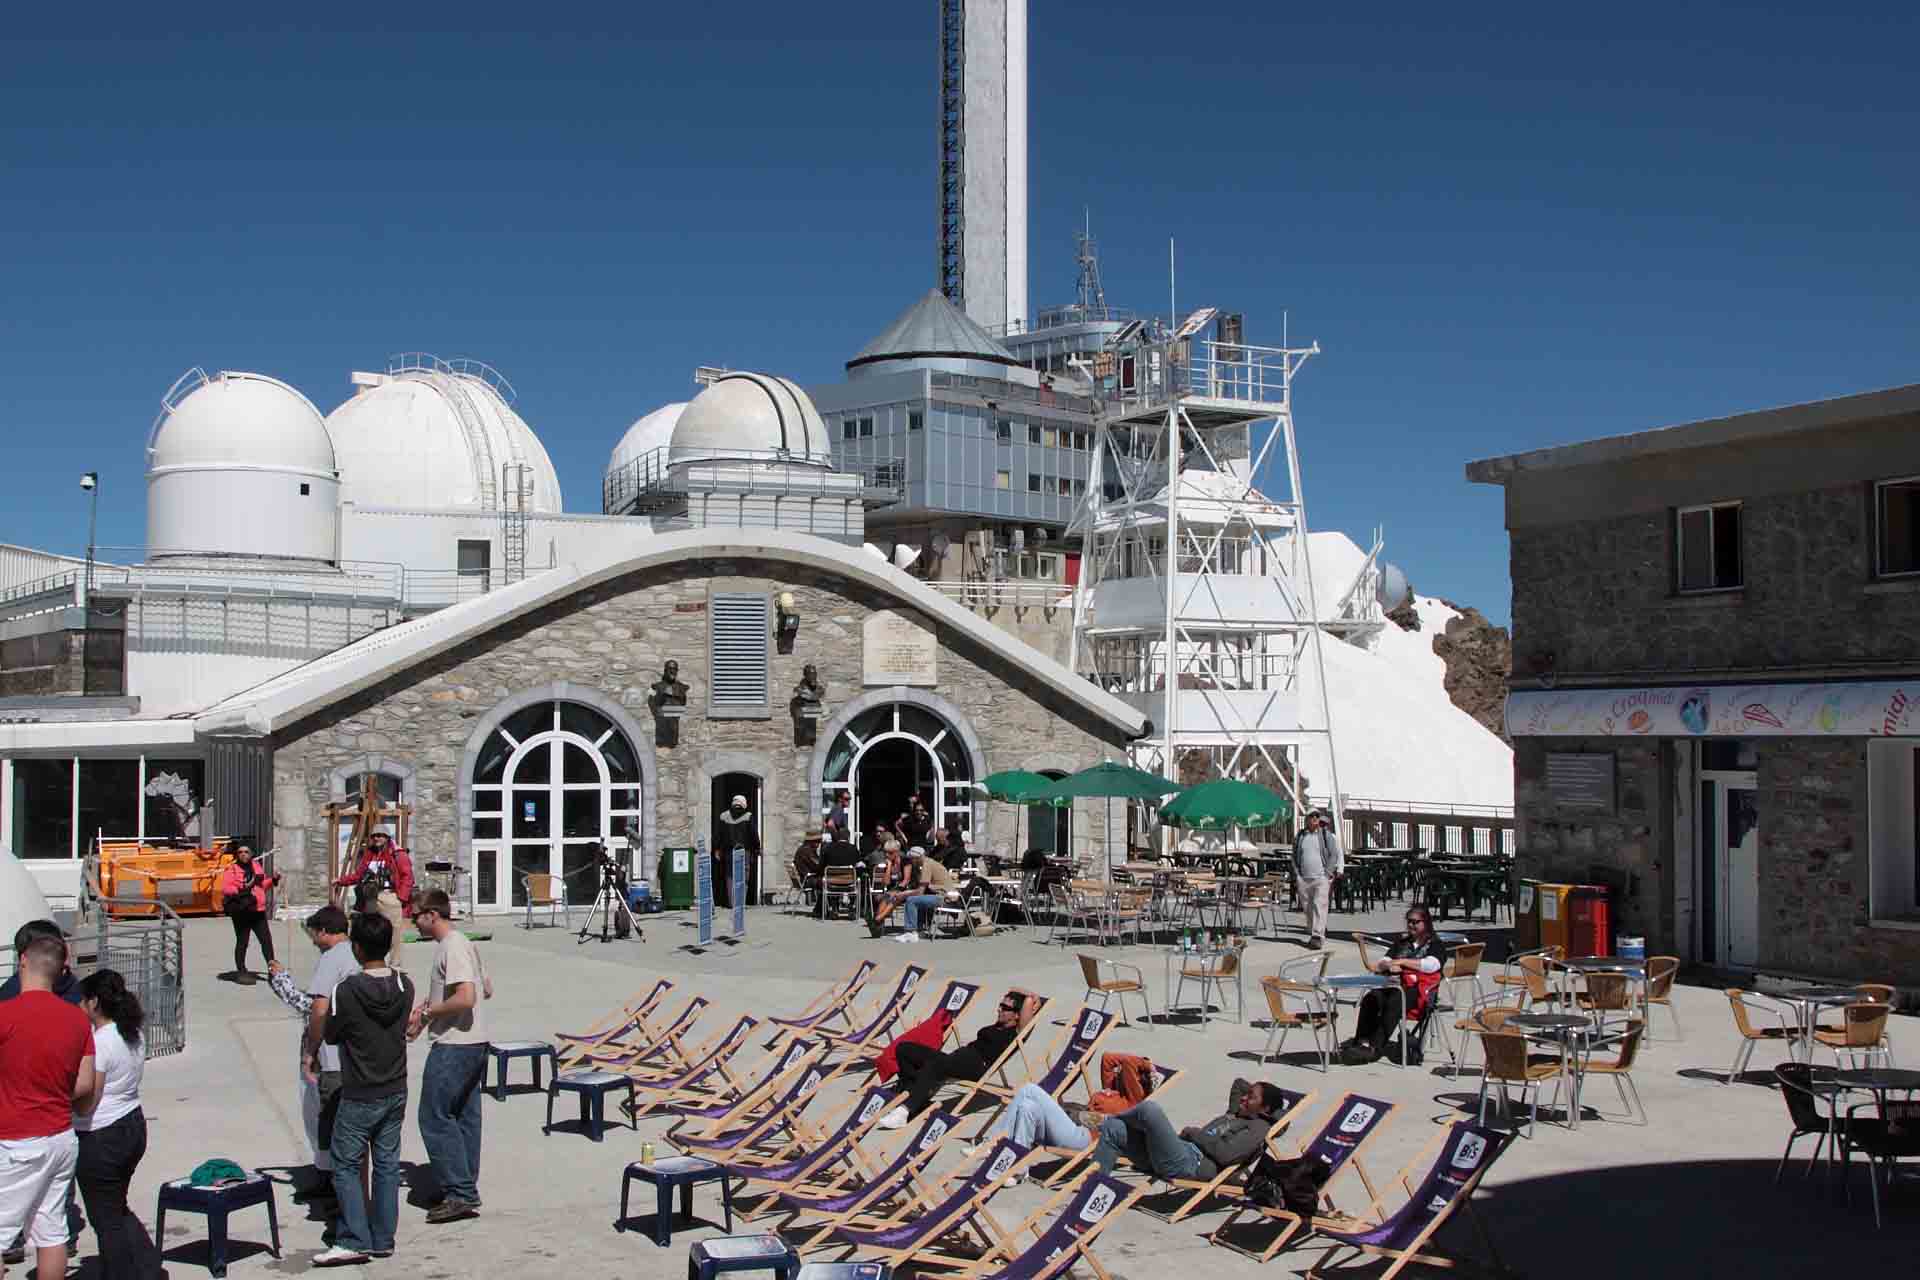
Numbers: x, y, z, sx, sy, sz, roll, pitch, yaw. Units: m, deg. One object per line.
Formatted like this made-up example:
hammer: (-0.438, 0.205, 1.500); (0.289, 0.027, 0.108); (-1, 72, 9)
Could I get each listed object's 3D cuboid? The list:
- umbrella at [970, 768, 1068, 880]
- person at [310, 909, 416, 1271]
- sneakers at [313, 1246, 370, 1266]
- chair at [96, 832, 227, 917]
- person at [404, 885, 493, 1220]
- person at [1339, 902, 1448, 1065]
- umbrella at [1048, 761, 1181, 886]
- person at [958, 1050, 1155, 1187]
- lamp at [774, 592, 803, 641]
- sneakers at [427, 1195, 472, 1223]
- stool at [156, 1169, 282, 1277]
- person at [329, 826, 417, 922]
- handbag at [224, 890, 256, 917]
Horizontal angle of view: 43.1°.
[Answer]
umbrella: (1.343, 3.349, 44.619); (1.788, 1.816, 1.755); (1, 2, -22)
person: (-6.433, 4.823, 26.187); (0.954, 3.730, 0.732); (1, -4, -15)
sneakers: (-6.679, 6.599, 26.030); (0.670, 0.263, 0.226); (5, -18, 0)
chair: (-14.231, 4.141, 42.646); (2.653, 1.172, 2.235); (2, 9, -27)
person: (-5.693, 4.609, 26.877); (0.750, 3.636, 0.604); (1, -4, -13)
person: (6.076, 4.908, 34.155); (1.054, 0.721, 1.688); (11, 30, 5)
umbrella: (2.801, 3.520, 45.898); (2.228, 1.497, 2.165); (3, 4, 34)
person: (1.157, 5.403, 28.162); (2.234, 1.182, 1.060); (-2, 2, -5)
lamp: (-3.280, -0.389, 45.627); (0.468, 0.911, 0.300); (1, -4, -16)
sneakers: (-5.687, 6.329, 26.964); (0.562, 0.231, 0.204); (1, -10, -4)
stool: (-8.040, 6.293, 26.186); (1.111, 1.042, 1.093); (0, -4, -8)
person: (-9.055, 3.591, 36.904); (0.998, 1.979, 0.725); (-14, -33, 11)
handbag: (-10.503, 3.824, 35.106); (0.357, 0.323, 0.364); (0, -14, 18)
